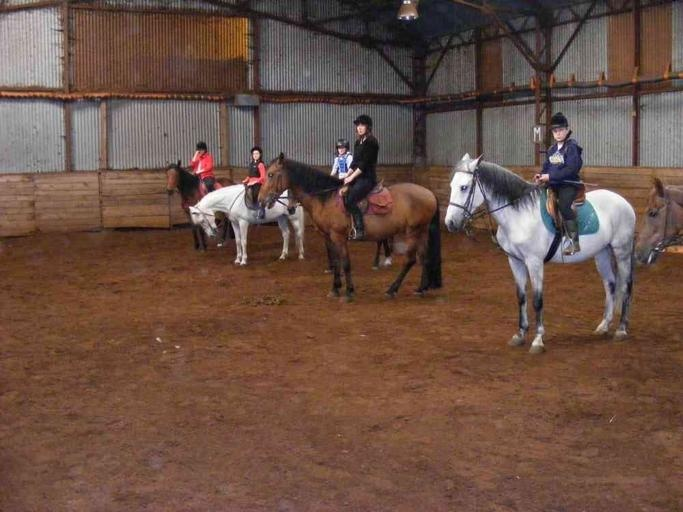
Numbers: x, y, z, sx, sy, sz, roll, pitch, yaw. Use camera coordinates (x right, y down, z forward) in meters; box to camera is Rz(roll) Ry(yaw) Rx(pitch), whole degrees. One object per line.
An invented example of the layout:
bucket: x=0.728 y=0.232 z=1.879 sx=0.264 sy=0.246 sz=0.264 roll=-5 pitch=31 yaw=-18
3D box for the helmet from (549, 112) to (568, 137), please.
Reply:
helmet: x=2.582 y=-1.575 z=9.532 sx=0.226 sy=0.184 sz=0.330 roll=-16 pitch=8 yaw=10

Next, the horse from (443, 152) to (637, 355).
horse: x=2.565 y=-0.037 z=9.849 sx=2.534 sy=2.365 sz=0.836 roll=-2 pitch=8 yaw=-11

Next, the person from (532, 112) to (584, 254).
person: x=2.616 y=-0.847 z=9.520 sx=0.517 sy=1.651 sz=0.414 roll=2 pitch=9 yaw=18

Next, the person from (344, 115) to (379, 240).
person: x=0.283 y=-1.157 z=12.003 sx=0.518 sy=1.864 sz=0.416 roll=-1 pitch=9 yaw=1

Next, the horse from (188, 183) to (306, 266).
horse: x=-1.723 y=-0.601 z=15.666 sx=2.337 sy=1.674 sz=0.630 roll=-6 pitch=1 yaw=-27

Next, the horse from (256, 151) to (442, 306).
horse: x=0.264 y=-0.481 z=12.399 sx=2.541 sy=2.252 sz=1.143 roll=1 pitch=10 yaw=10

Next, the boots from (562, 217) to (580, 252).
boots: x=2.737 y=-0.237 z=9.449 sx=0.190 sy=0.445 sz=0.110 roll=0 pitch=9 yaw=1

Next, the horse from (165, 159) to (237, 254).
horse: x=-2.977 y=-1.130 z=17.582 sx=0.558 sy=1.912 sz=2.282 roll=-3 pitch=2 yaw=34
